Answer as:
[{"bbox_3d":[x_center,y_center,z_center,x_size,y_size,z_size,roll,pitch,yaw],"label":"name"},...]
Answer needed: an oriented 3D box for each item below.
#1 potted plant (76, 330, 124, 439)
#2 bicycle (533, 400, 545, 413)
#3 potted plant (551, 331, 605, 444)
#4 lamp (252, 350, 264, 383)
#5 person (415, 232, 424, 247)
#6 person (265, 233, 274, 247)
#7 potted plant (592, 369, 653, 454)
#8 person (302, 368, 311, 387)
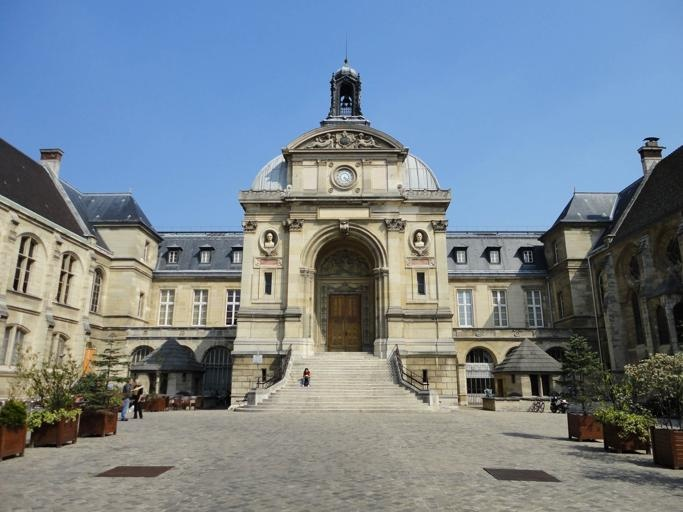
[{"bbox_3d":[-8.599,4.965,17.486,1.260,2.937,1.424,3,-12,8],"label":"potted plant"},{"bbox_3d":[12.122,9.219,29.924,0.832,0.599,0.393,-1,-11,9],"label":"bicycle"},{"bbox_3d":[11.245,6.403,23.000,2.145,3.855,2.155,-12,-11,26],"label":"potted plant"},{"bbox_3d":[-5.412,7.325,32.026,0.896,1.883,0.430,2,-11,-7],"label":"lamp"},{"bbox_3d":[5.481,-1.136,34.075,0.850,1.150,0.636,-1,-28,3],"label":"person"},{"bbox_3d":[-5.065,-1.097,34.227,0.823,1.057,0.610,1,-24,-3],"label":"person"},{"bbox_3d":[9.144,4.952,15.951,1.772,2.757,2.574,1,-15,5],"label":"potted plant"},{"bbox_3d":[-2.064,7.218,28.592,0.554,1.198,0.699,-1,-54,-1],"label":"person"}]
